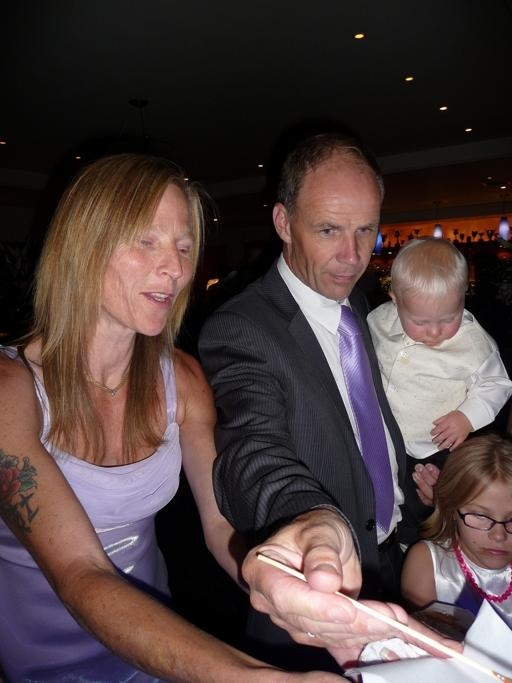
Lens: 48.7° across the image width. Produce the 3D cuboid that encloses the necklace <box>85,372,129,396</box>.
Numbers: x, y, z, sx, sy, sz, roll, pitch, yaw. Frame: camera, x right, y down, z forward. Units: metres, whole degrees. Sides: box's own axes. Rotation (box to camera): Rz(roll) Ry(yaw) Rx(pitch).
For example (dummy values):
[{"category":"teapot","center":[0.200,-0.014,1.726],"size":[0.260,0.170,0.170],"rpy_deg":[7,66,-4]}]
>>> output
[{"category":"necklace","center":[-0.440,0.131,1.673],"size":[0.096,0.063,0.019],"rpy_deg":[7,-21,-45]}]
